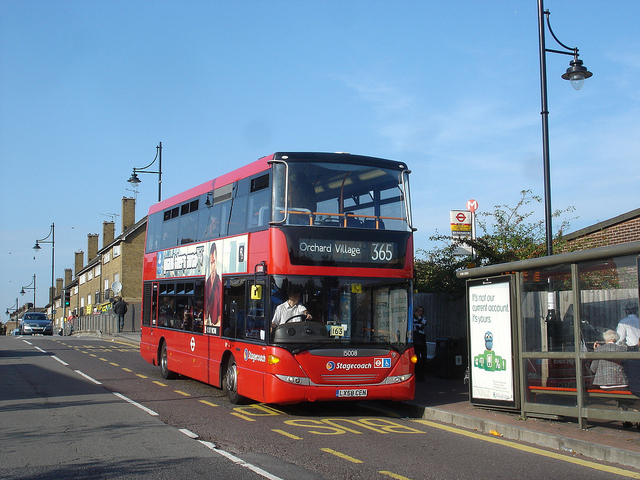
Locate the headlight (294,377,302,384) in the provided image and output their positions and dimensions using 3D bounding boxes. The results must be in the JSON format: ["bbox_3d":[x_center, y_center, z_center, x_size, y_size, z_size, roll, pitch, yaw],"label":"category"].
[{"bbox_3d":[-0.441,2.809,12.157,0.121,0.129,0.043,3,-8,-19],"label":"headlight"}]

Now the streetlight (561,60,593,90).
[{"bbox_3d":[6.275,-4.143,14.891,0.409,0.544,0.529,5,-10,-39],"label":"streetlight"}]

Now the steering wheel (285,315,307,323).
[{"bbox_3d":[-0.482,1.593,12.339,0.435,0.145,0.089,1,-8,-20],"label":"steering wheel"}]

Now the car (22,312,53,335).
[{"bbox_3d":[-24.952,7.376,53.616,2.127,1.770,2.837,4,-10,-33],"label":"car"}]

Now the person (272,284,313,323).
[{"bbox_3d":[-0.581,1.429,12.446,0.768,0.396,1.327,-12,-39,-16],"label":"person"}]

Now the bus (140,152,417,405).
[{"bbox_3d":[-2.142,1.189,17.222,3.362,5.757,10.710,1,-5,-29],"label":"bus"}]
